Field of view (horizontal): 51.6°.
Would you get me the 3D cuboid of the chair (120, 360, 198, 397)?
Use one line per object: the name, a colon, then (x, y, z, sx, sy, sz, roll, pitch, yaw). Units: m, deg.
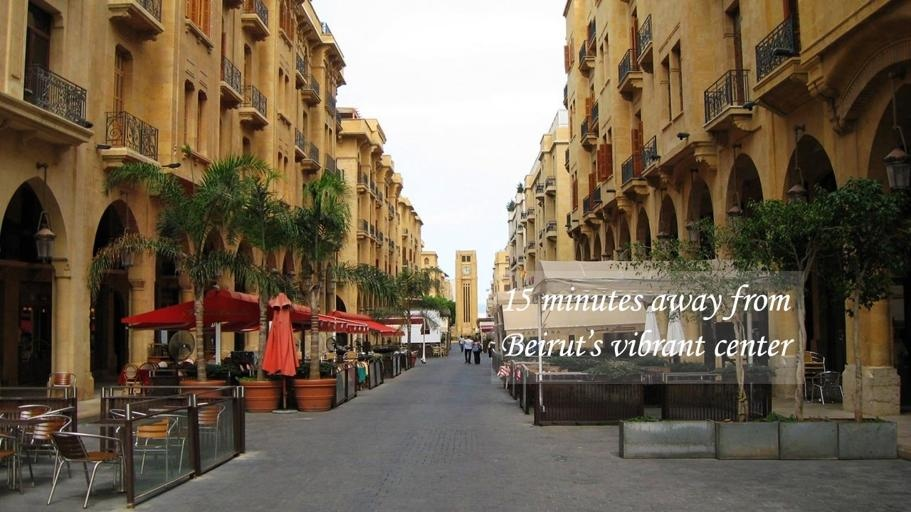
chair: (-10.126, 4.312, 32.251, 2.057, 1.171, 0.735, -2, -1, 2)

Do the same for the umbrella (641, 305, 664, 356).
umbrella: (6.961, 2.768, 33.490, 0.736, 1.726, 1.988, -4, -12, 13)
